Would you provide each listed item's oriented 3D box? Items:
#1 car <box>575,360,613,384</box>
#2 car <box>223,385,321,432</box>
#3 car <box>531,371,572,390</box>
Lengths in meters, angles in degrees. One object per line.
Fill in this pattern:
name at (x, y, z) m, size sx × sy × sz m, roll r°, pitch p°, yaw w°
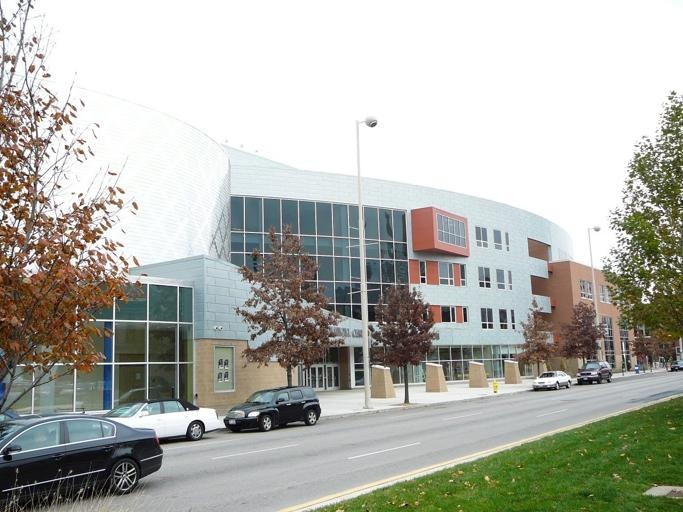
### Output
car at (23.910, 10.856, 49.356) m, size 4.289 × 2.069 × 1.914 m, roll 8°, pitch -18°, yaw -38°
car at (-2.961, 6.663, 22.727) m, size 1.845 × 1.494 × 3.791 m, roll -18°, pitch -24°, yaw 37°
car at (17.504, 10.247, 43.427) m, size 3.707 × 1.471 × 1.758 m, roll 8°, pitch -18°, yaw -38°
